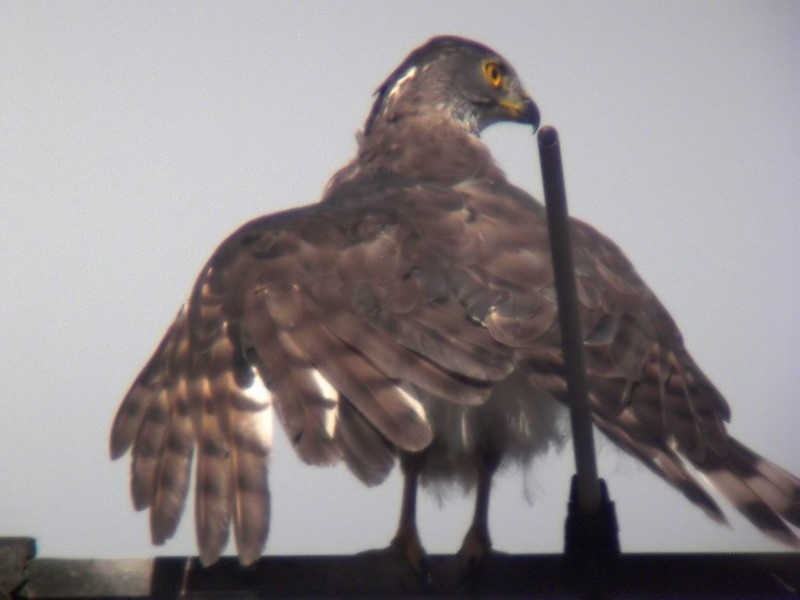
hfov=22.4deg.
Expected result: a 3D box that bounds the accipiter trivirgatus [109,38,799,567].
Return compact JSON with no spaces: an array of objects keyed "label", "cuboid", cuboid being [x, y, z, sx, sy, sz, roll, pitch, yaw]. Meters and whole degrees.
[{"label":"accipiter trivirgatus","cuboid":[0.111,-0.089,6.574,1.988,2.018,0.744,6,-21,-9]}]
